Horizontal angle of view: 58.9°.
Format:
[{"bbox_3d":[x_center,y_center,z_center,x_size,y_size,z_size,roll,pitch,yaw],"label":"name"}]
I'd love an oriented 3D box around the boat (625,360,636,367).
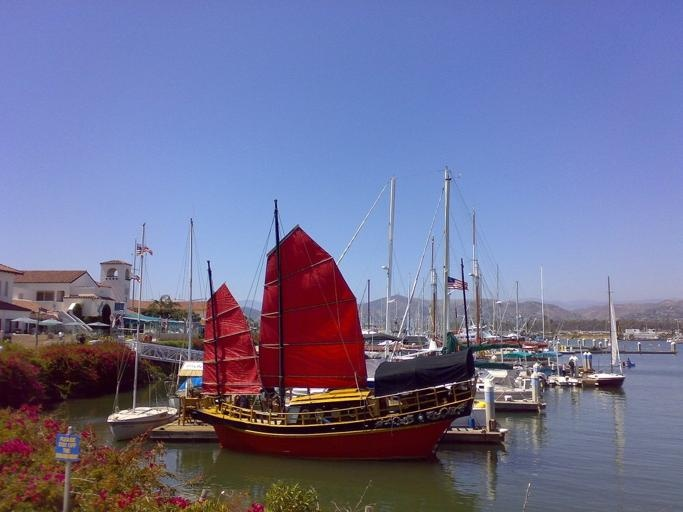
[{"bbox_3d":[39.746,14.763,83.117,1.635,1.072,2.568,-2,-10,14],"label":"boat"}]
